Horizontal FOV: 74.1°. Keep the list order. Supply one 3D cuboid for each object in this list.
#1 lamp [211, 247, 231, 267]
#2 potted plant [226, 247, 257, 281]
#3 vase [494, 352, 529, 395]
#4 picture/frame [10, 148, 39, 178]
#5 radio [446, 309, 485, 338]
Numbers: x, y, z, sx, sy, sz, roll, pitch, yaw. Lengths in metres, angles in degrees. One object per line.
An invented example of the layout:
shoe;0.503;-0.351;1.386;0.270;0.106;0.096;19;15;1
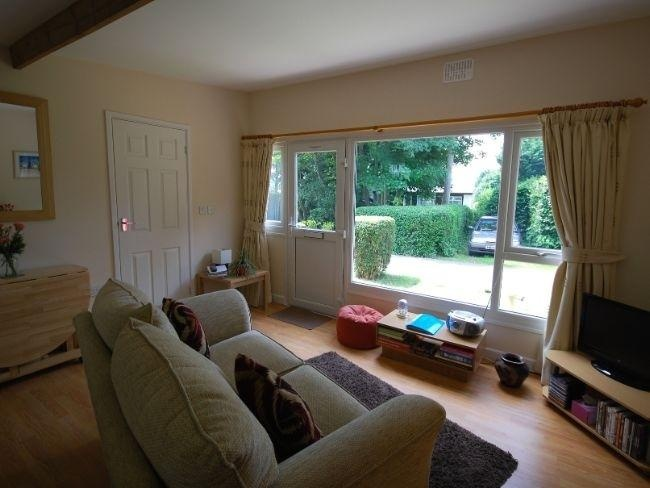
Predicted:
lamp;-1.284;0.169;5.313;0.190;0.197;0.196;2;2;-8
potted plant;-1.027;0.295;5.392;0.283;0.319;0.301;1;0;26
vase;1.642;1.129;3.774;0.263;0.249;0.285;-1;2;5
picture/frame;-2.759;-0.745;3.935;0.011;0.329;0.269;2;-1;41
radio;1.300;0.753;4.002;0.313;0.191;0.225;5;8;29
